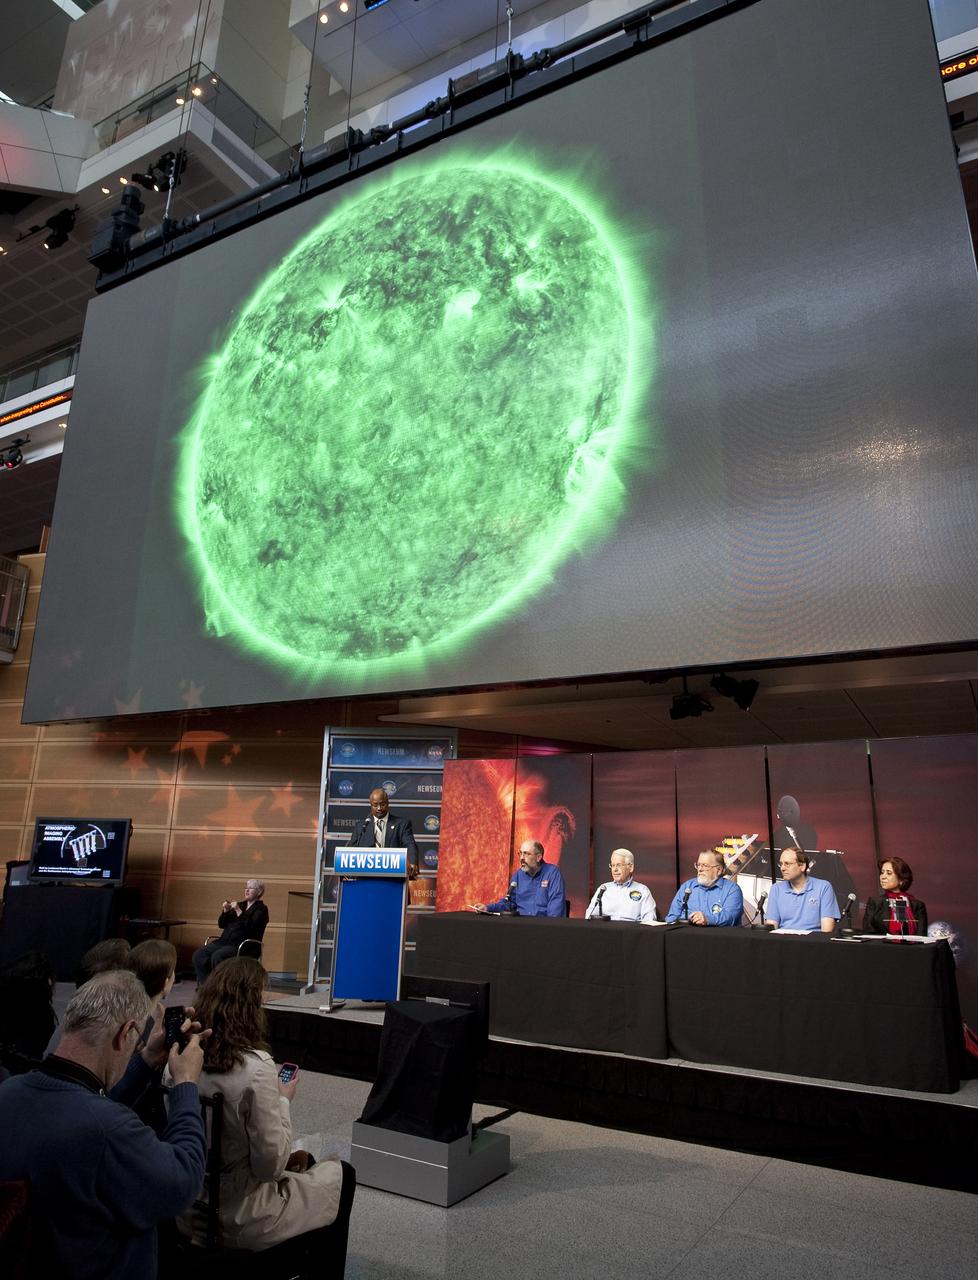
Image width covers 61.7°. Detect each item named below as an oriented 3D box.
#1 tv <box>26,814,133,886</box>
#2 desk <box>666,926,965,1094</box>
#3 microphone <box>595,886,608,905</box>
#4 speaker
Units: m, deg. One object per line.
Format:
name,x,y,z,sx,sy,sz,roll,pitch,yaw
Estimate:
tv,-4.724,2.519,9.573,1.163,0.729,0.284,-1,-12,16
desk,1.609,1.905,4.065,0.982,0.479,0.344,-3,-8,31
microphone,0.862,1.949,6.166,0.043,0.171,0.048,10,-13,4
speaker,-0.285,1.968,3.726,0.518,0.541,0.339,-6,-14,33
